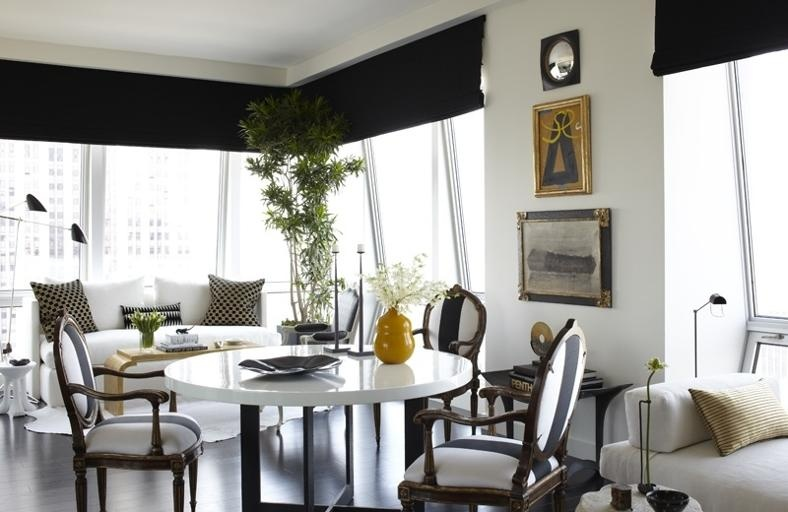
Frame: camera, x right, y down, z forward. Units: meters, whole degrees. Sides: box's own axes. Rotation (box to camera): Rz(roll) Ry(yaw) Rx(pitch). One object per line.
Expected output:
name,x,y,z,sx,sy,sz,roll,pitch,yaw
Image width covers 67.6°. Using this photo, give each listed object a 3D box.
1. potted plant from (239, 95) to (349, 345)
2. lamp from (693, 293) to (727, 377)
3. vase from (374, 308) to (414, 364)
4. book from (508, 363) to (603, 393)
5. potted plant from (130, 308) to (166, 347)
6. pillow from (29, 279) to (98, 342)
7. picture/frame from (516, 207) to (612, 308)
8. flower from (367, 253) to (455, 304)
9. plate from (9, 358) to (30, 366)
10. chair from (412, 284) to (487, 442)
potted plant,-1.103,-0.622,7.232,1.400,2.879,0.687,0,1,1
lamp,2.401,0.608,4.480,0.229,0.643,0.631,0,0,29
vase,-0.002,0.506,3.809,0.294,0.414,0.296,2,4,-1
book,1.248,0.972,4.648,0.463,0.119,0.516,0,-1,28
potted plant,-2.436,0.752,5.822,0.259,0.323,0.291,-12,-14,43
pillow,-3.680,0.569,6.640,0.565,0.521,0.289,-13,31,-27
picture/frame,1.462,0.007,4.931,0.113,0.833,0.861,0,-1,-43
flower,0.042,0.190,3.903,0.381,0.290,0.402,6,-6,-15
plate,-3.745,1.059,5.883,0.184,0.066,0.153,0,-1,-32
chair,0.365,0.913,5.097,0.809,1.267,0.861,-3,3,-30
